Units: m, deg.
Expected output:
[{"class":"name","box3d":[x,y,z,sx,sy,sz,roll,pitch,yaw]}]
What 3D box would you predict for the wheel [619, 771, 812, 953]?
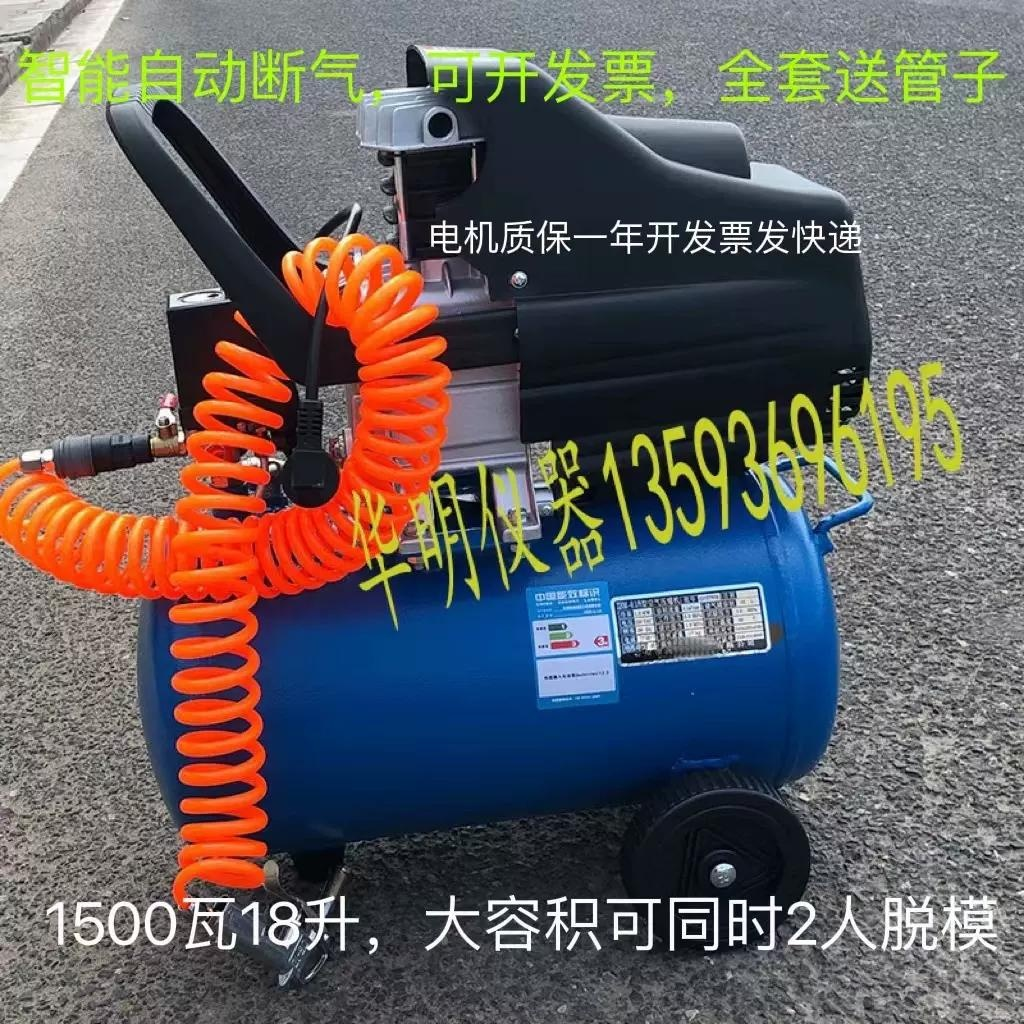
[{"class":"wheel","box3d":[0.258,0.463,1.417,0.286,0.243,0.081,-2,14,-3]}]
